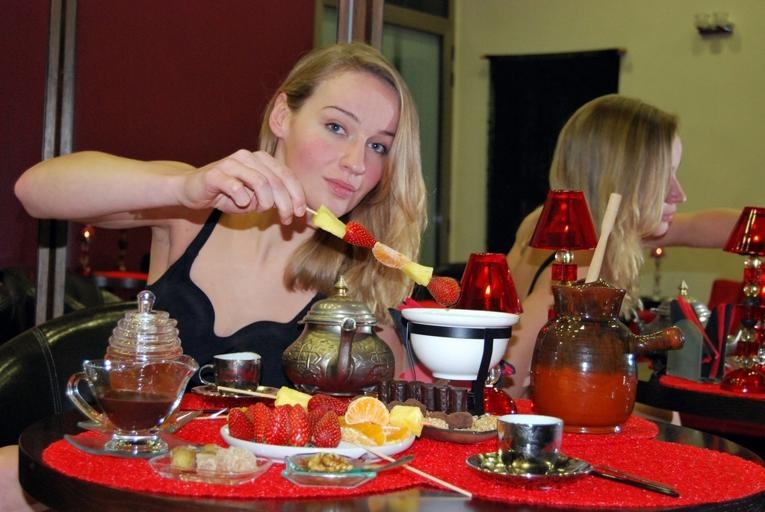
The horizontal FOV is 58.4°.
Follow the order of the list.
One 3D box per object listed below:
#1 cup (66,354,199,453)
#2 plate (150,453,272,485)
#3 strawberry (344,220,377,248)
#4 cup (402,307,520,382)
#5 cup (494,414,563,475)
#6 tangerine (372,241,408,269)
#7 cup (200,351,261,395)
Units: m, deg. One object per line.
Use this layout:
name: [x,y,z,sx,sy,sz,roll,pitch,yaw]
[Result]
cup: [-0.653,0.379,1.762,0.279,0.188,0.239,1,-9,2]
plate: [-0.406,0.499,1.564,0.169,0.025,0.110,2,2,5]
strawberry: [-0.066,-0.062,2.124,0.103,0.066,0.042,30,-16,-22]
cup: [0.219,0.238,1.894,0.240,0.139,0.243,3,-8,0]
cup: [0.346,0.435,1.591,0.119,0.105,0.132,6,-9,-42]
tangerine: [0.021,0.002,2.097,0.114,0.063,0.033,27,34,-1]
cup: [-0.484,0.356,2.088,0.207,0.140,0.133,-1,-1,6]
